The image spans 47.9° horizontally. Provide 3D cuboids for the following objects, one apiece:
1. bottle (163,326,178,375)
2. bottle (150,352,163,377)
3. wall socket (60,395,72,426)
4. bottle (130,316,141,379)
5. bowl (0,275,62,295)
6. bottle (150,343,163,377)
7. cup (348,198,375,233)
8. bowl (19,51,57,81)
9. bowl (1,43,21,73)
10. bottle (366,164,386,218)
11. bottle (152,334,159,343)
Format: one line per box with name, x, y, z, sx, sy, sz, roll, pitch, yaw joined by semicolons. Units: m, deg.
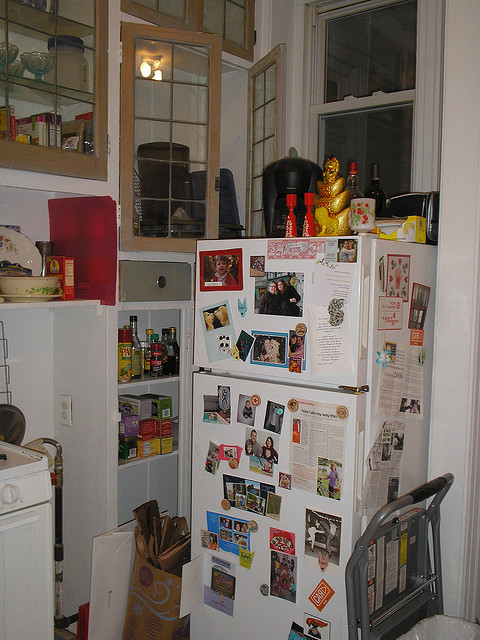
bottle;-0.296;0.133;2.283;0.080;0.192;0.075;0;5;0
bottle;-0.340;0.182;2.200;0.043;0.100;0.030;0;5;-1
wall socket;-0.670;0.349;2.085;0.010;0.156;0.083;-6;10;-44
bottle;-0.427;0.105;2.213;0.040;0.240;0.224;-1;6;-12
bowl;-0.623;-0.107;1.656;0.089;0.054;0.220;6;9;40
bottle;-0.341;0.163;2.219;0.054;0.138;0.062;-1;6;-17
cup;0.306;-0.264;1.352;0.046;0.098;0.081;-2;5;-14
bowl;-0.585;-0.752;1.576;0.065;0.060;0.074;-12;41;-17
bowl;-0.633;-0.729;1.500;0.022;0.077;0.052;5;2;31
bottle;0.475;-0.418;1.905;0.069;0.281;0.079;0;-4;24
bottle;-0.356;0.079;2.273;0.015;0.036;0.025;10;13;37
